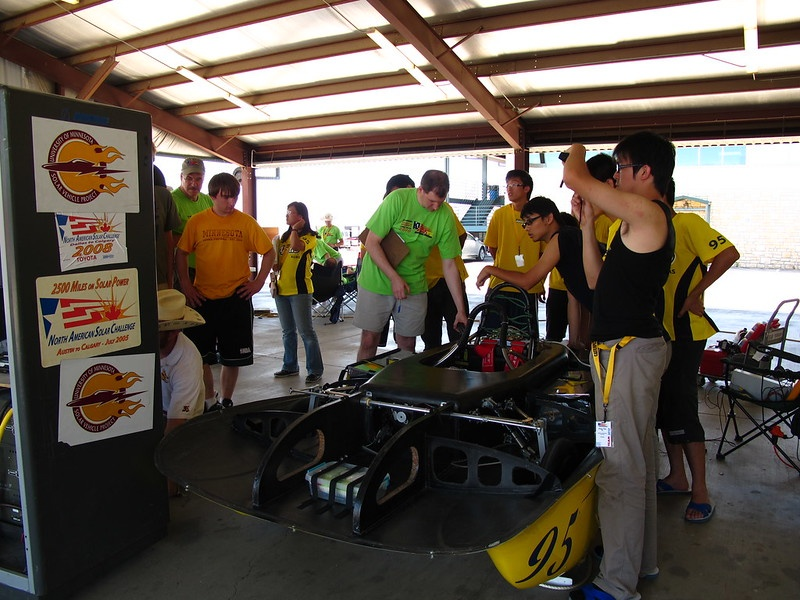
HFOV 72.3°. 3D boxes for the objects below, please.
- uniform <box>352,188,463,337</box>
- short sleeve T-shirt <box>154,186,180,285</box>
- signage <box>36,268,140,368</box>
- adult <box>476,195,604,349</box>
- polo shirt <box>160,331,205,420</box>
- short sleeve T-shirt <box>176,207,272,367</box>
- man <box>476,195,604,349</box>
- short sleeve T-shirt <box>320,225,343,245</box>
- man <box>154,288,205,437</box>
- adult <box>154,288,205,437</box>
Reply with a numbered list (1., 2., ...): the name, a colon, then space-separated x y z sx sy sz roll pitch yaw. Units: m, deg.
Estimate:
1. uniform: 0.072 -0.251 4.229 0.756 1.120 0.436 13 13 -1
2. short sleeve T-shirt: -1.654 -0.527 3.939 0.117 0.564 0.201 -3 44 -14
3. signage: -1.332 0.072 2.308 0.018 0.329 0.423 0 4 33
4. adult: 0.918 -0.190 3.746 0.851 1.095 0.494 -5 25 -4
5. polo shirt: -1.181 0.421 2.946 0.216 0.415 0.459 -5 6 -29
6. short sleeve T-shirt: -1.360 -0.087 4.229 0.716 1.220 0.313 2 5 -17
7. man: 0.938 -0.193 3.734 0.810 1.094 0.494 -3 28 1
8. short sleeve T-shirt: -1.162 -1.087 9.125 0.425 0.429 0.243 6 13 40
9. man: -1.173 0.343 2.891 0.241 0.737 0.413 -10 44 -21
10. adult: -1.173 0.343 2.891 0.241 0.737 0.413 -10 44 -21
